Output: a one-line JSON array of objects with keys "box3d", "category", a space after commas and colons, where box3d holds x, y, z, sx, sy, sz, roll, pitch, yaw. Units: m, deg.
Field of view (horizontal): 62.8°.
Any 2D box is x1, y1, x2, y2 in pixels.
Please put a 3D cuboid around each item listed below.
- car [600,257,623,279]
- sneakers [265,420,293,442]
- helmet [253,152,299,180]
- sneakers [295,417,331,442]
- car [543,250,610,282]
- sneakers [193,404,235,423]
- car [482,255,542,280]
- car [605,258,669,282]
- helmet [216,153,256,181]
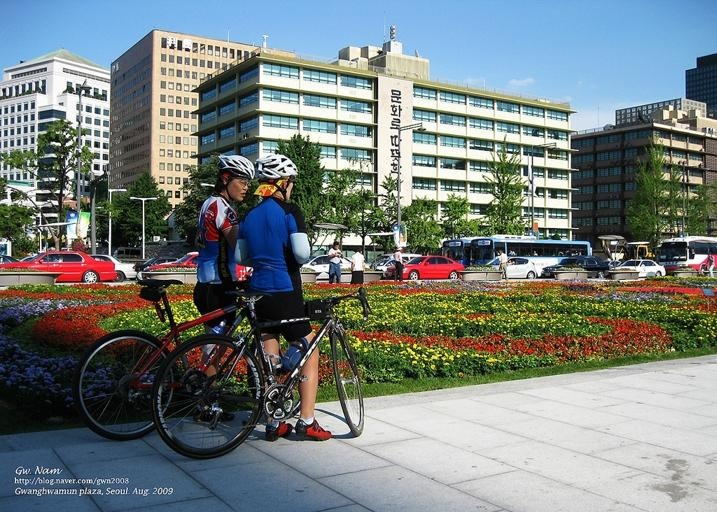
[{"box3d": [19.878, 0.991, 46.189, 2.099, 0.964, 1.206, 4, -5, -27], "category": "car"}, {"box3d": [-0.773, 1.696, 5.740, 0.123, 0.155, 0.344, 2, 2, 27], "category": "sneakers"}, {"box3d": [-0.827, -0.916, 5.955, 0.366, 0.209, 0.264, 6, 0, -24], "category": "helmet"}, {"box3d": [-0.459, 1.726, 5.808, 0.441, 0.200, 0.161, 7, -4, -15], "category": "sneakers"}, {"box3d": [17.154, 0.411, 45.398, 5.892, 1.865, 2.474, 2, -4, -18], "category": "car"}, {"box3d": [-1.358, 1.455, 5.460, 0.203, 0.133, 0.265, -10, -14, 42], "category": "sneakers"}, {"box3d": [12.233, 0.785, 45.712, 3.612, 1.507, 2.032, 4, -4, -18], "category": "car"}, {"box3d": [20.851, 1.001, 43.968, 3.042, 1.460, 6.833, -3, -1, 33], "category": "car"}, {"box3d": [-1.332, -0.955, 6.252, 0.364, 0.137, 0.265, 10, 7, 15], "category": "helmet"}]
